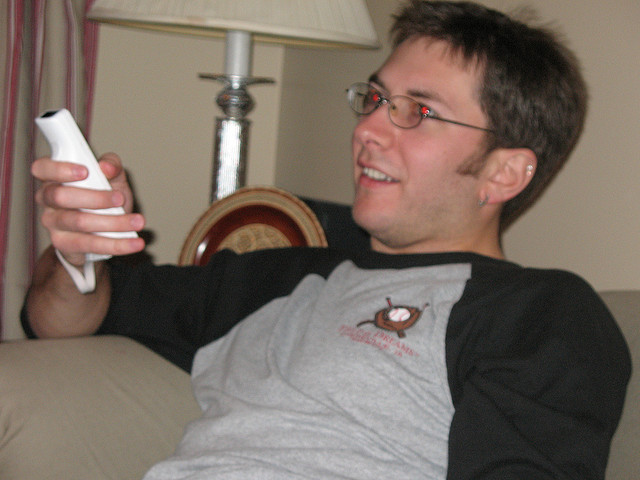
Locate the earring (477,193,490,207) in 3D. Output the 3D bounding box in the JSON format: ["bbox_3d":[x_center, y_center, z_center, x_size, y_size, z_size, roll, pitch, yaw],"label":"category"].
[{"bbox_3d":[0.371,-0.087,1.474,0.026,0.030,0.005,0,21,-17],"label":"earring"}]

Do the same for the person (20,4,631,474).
[{"bbox_3d":[0.065,0.014,1.439,1.157,1.041,0.745,11,21,14],"label":"person"}]

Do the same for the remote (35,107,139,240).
[{"bbox_3d":[-0.441,-0.124,1.236,0.166,0.236,0.116,-7,23,-31],"label":"remote"}]

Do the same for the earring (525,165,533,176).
[{"bbox_3d":[0.479,-0.156,1.484,0.013,0.022,0.006,6,2,10],"label":"earring"}]

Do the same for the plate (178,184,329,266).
[{"bbox_3d":[-0.171,-0.013,1.766,0.322,0.055,0.334,19,36,14],"label":"plate"}]
